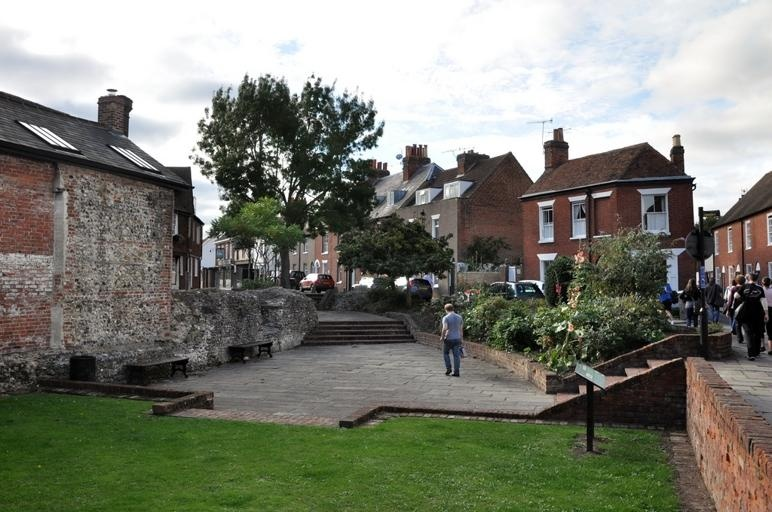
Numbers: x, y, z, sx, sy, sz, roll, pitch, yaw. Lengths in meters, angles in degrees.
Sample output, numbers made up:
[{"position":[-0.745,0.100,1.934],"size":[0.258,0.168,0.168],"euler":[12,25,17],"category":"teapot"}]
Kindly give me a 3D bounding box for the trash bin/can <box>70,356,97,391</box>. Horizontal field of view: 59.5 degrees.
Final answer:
[{"position":[-7.748,2.953,17.250],"size":[0.677,0.777,0.690],"euler":[-3,-5,38],"category":"trash bin/can"}]

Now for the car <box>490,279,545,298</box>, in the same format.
[{"position":[6.329,1.790,32.191],"size":[2.186,1.108,1.233],"euler":[-2,1,6],"category":"car"}]

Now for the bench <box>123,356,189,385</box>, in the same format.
[{"position":[-6.481,3.251,19.317],"size":[0.797,0.658,2.171],"euler":[3,3,27],"category":"bench"}]

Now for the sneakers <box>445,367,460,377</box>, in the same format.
[{"position":[1.905,3.419,19.625],"size":[0.170,0.206,0.480],"euler":[1,-12,-18],"category":"sneakers"}]
